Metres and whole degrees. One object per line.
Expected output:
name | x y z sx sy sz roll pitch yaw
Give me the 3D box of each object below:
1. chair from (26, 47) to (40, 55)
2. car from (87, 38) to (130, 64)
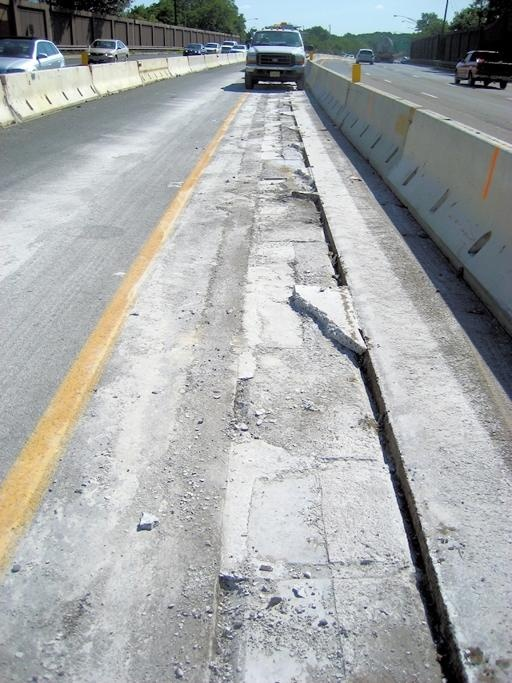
chair | -8.070 -10.389 16.650 0.238 0.274 0.550 -2 31 -8
car | -12.315 -23.942 38.196 2.237 1.677 3.970 4 30 3
